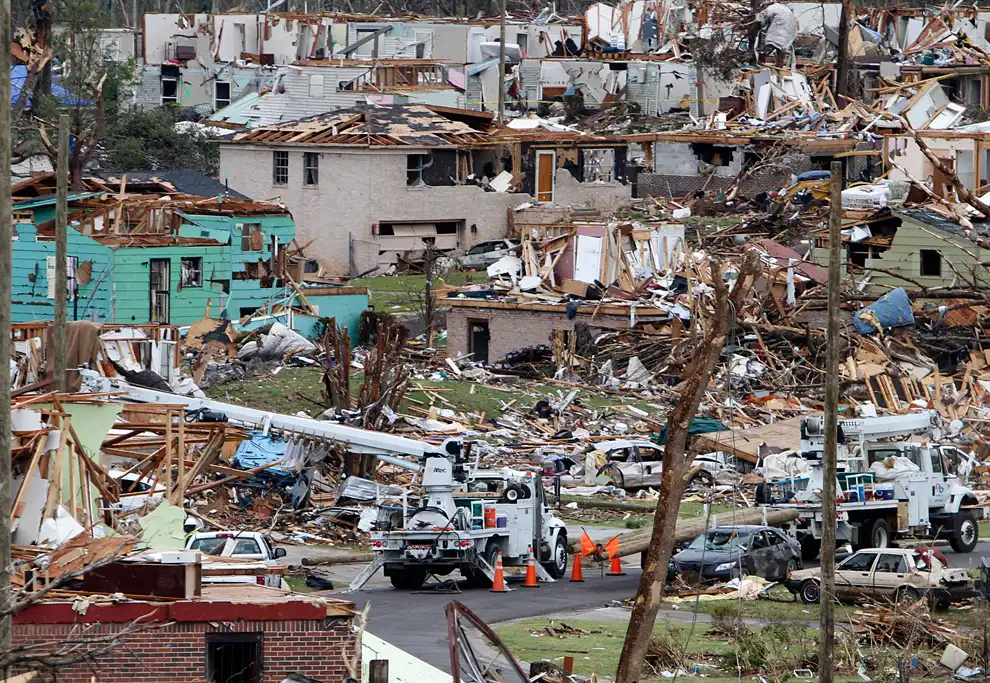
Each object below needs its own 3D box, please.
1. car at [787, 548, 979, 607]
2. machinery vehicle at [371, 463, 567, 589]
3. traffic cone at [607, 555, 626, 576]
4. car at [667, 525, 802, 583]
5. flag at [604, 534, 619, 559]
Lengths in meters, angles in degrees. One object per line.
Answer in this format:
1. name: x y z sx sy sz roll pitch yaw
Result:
1. car: 8.918 5.529 50.009 4.011 1.270 1.915 -1 -6 38
2. machinery vehicle: -0.616 4.508 52.046 2.501 1.929 4.253 1 5 35
3. traffic cone: 2.985 5.559 53.446 0.500 0.522 0.472 -2 7 -2
4. car: 5.827 5.186 52.015 3.577 1.133 1.470 2 -5 -45
5. flag: 2.899 5.145 53.693 0.216 0.557 0.465 16 29 -1
